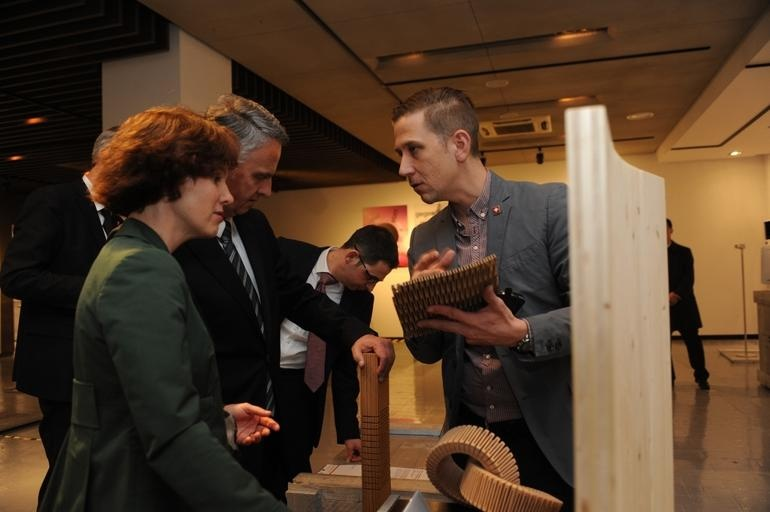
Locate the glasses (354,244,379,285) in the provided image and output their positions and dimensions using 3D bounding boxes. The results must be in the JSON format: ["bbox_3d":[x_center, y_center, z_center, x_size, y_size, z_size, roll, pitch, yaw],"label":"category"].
[{"bbox_3d":[-0.107,0.051,3.535,0.056,0.187,0.182,-27,-21,21],"label":"glasses"}]

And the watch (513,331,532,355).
[{"bbox_3d":[0.474,0.295,2.107,0.072,0.083,0.054,3,25,-17],"label":"watch"}]

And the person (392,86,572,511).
[{"bbox_3d":[0.350,0.125,2.265,0.654,1.629,0.626,-3,-4,17],"label":"person"}]

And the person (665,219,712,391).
[{"bbox_3d":[3.533,0.646,7.107,0.372,1.728,0.647,-4,-5,27],"label":"person"}]

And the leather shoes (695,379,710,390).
[{"bbox_3d":[3.636,1.452,6.935,0.135,0.102,0.216,-4,-5,27],"label":"leather shoes"}]
